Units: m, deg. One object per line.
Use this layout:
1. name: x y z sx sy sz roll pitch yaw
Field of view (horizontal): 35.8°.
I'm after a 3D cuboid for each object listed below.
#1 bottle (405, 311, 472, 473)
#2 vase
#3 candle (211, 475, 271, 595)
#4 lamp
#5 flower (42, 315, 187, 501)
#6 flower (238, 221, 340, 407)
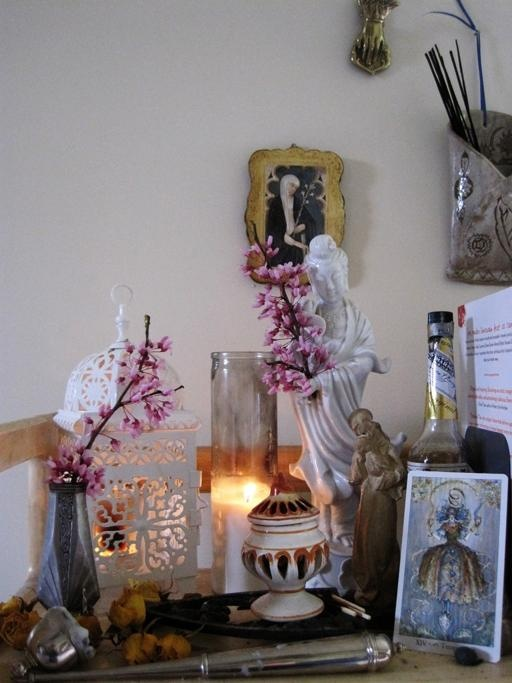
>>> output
1. bottle: 0.259 0.074 1.152 0.085 0.232 0.069 -4 0 3
2. vase: -0.263 0.290 1.096 0.082 0.184 0.117 -4 0 -17
3. candle: -0.022 0.318 1.304 0.100 0.186 0.060 -4 0 1
4. lamp: -0.203 0.189 1.375 0.279 0.425 0.260 0 -4 -33
5. flower: -0.227 0.071 1.245 0.159 0.174 0.154 20 20 29
6. flower: 0.057 -0.040 1.337 0.132 0.276 0.257 -4 0 3
